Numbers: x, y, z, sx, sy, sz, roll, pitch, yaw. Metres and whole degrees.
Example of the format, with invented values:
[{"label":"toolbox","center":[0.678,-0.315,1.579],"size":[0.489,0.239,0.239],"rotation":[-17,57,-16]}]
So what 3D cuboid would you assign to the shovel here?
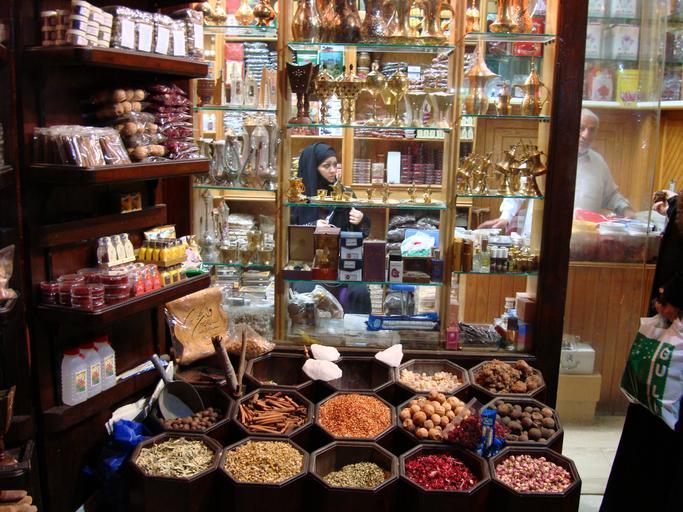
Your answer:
[{"label":"shovel","center":[-0.889,0.717,2.946],"size":[0.217,0.369,0.067],"rotation":[-22,-5,-35]}]

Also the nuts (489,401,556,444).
[{"label":"nuts","center":[0.928,0.831,2.854],"size":[0.250,0.146,0.370],"rotation":[0,14,1]}]

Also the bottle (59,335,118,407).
[{"label":"bottle","center":[-1.236,0.551,2.671],"size":[0.122,0.340,0.349],"rotation":[1,5,21]}]

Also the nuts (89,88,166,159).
[{"label":"nuts","center":[-1.003,-0.637,2.697],"size":[0.257,0.357,0.313],"rotation":[9,16,25]}]

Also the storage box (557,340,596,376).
[{"label":"storage box","center":[1.631,0.708,3.828],"size":[0.244,0.162,0.254],"rotation":[0,5,4]}]

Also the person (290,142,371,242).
[{"label":"person","center":[-0.116,-0.514,4.208],"size":[0.560,0.799,0.446],"rotation":[3,13,2]}]
